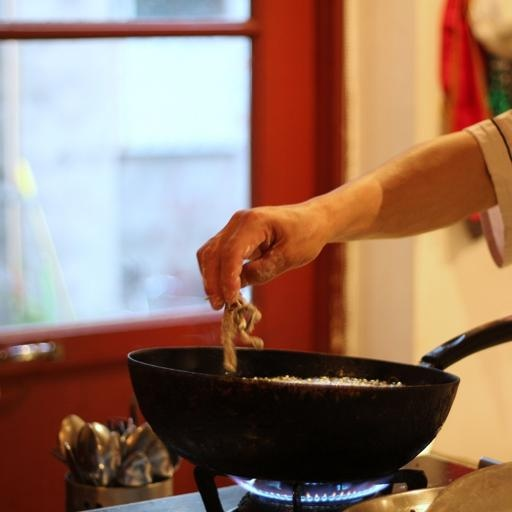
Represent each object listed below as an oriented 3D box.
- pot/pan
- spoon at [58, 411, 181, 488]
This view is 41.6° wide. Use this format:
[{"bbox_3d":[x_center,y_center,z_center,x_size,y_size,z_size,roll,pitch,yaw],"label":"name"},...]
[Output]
[{"bbox_3d":[0.043,0.176,0.802,0.376,0.159,0.289,-4,-2,-2],"label":"pot/pan"},{"bbox_3d":[-0.233,0.328,1.113,0.129,0.085,0.136,3,-15,-8],"label":"spoon"}]
